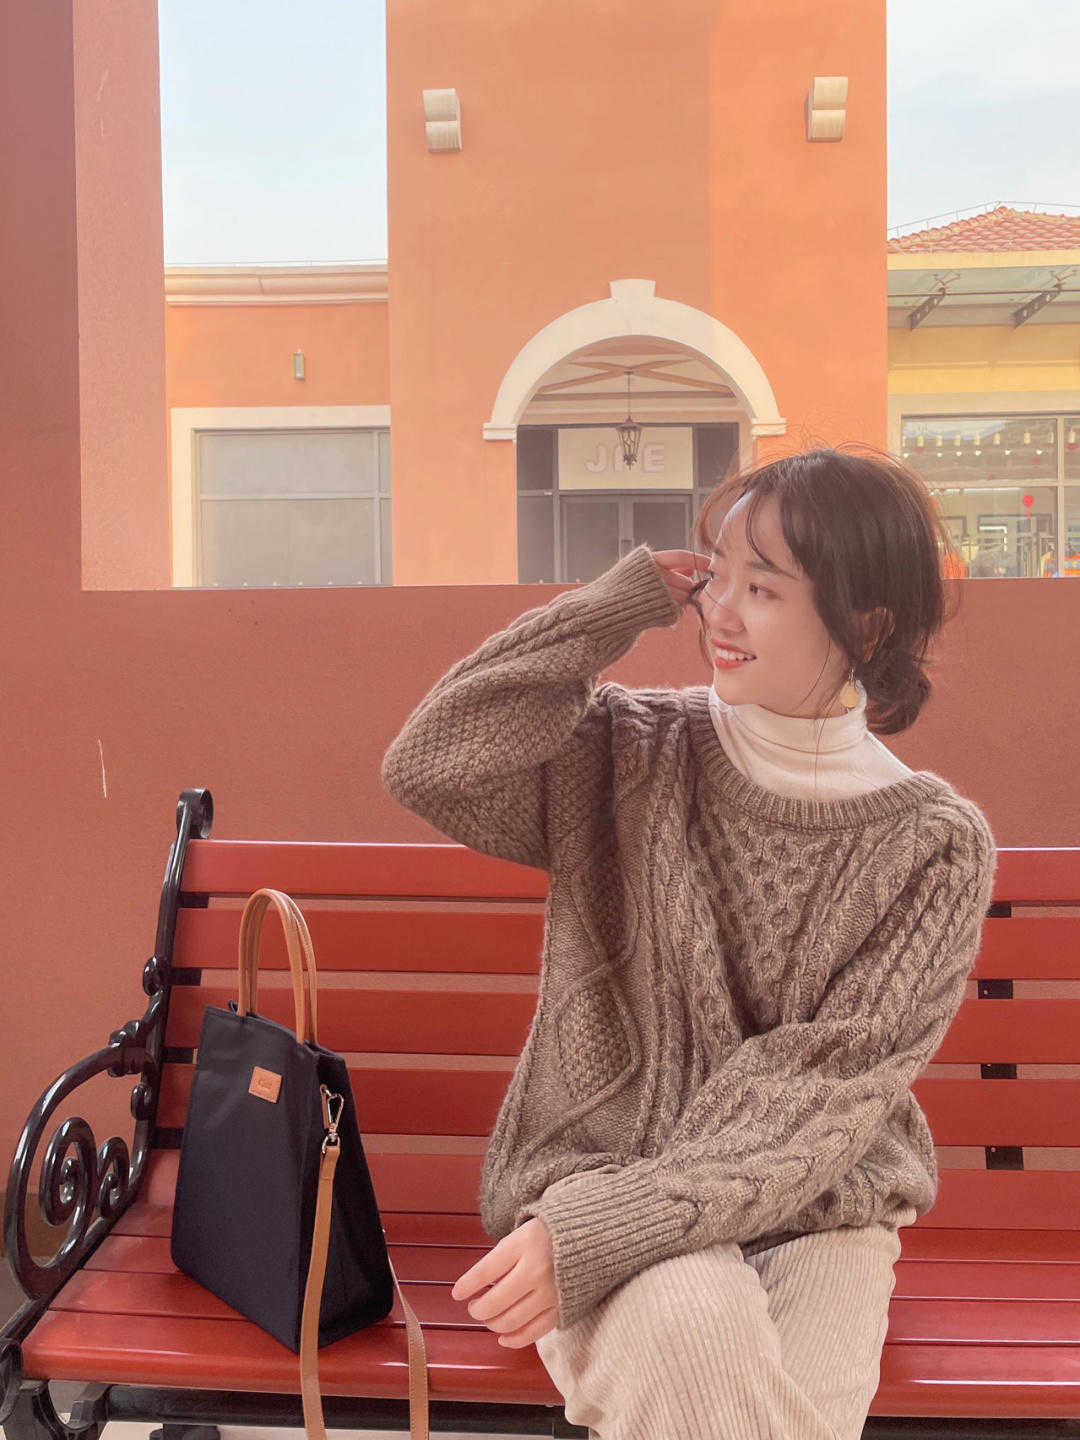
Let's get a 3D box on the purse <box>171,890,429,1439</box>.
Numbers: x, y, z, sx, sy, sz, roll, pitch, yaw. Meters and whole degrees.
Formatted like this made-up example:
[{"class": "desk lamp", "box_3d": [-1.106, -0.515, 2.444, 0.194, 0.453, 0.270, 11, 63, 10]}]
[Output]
[{"class": "purse", "box_3d": [-0.299, 0.512, 2.005, 0.192, 0.602, 0.353, -3, 6, -38]}]
